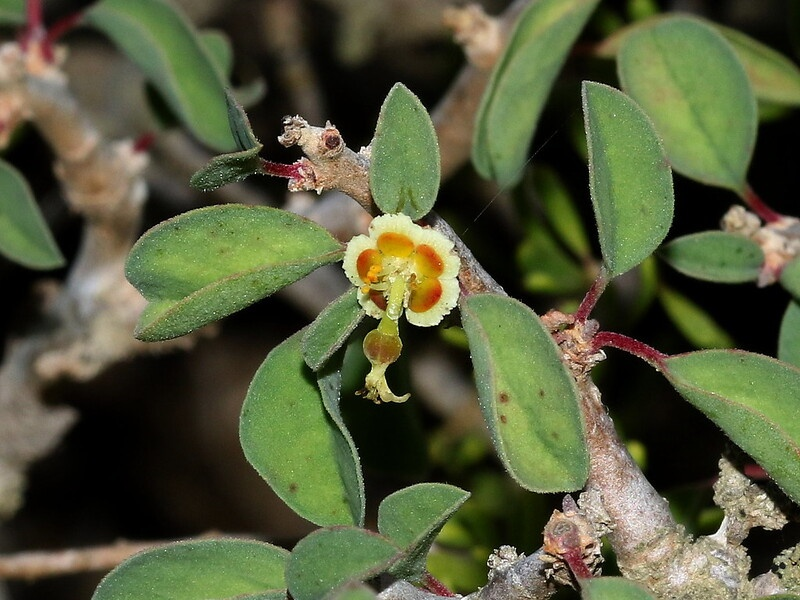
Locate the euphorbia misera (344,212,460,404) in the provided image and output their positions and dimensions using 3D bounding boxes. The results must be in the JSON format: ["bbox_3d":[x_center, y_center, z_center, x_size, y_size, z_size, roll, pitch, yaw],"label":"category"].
[{"bbox_3d":[-0.007,-0.011,1.253,0.142,0.250,0.078,7,7,-6],"label":"euphorbia misera"}]
